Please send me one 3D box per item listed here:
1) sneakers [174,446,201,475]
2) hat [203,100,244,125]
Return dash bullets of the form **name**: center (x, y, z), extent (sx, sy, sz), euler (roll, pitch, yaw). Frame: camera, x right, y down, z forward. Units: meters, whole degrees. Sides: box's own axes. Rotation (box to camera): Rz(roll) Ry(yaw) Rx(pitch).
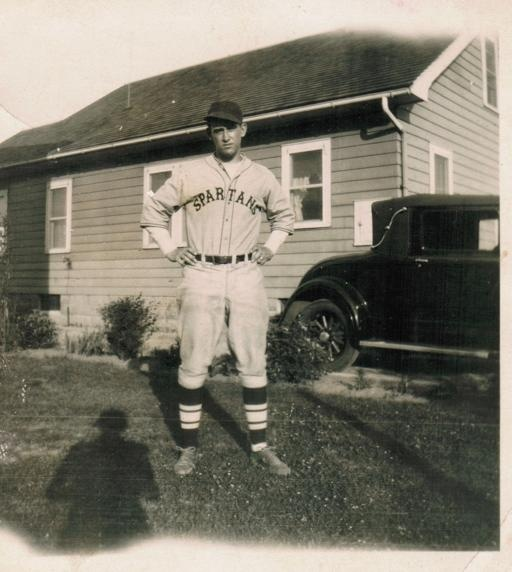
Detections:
- **sneakers**: center (-0.371, 0.936, 3.252), extent (0.122, 0.109, 0.230), euler (2, 3, 0)
- **hat**: center (-0.181, -0.960, 3.317), extent (0.285, 0.154, 0.405), euler (2, 15, 0)
